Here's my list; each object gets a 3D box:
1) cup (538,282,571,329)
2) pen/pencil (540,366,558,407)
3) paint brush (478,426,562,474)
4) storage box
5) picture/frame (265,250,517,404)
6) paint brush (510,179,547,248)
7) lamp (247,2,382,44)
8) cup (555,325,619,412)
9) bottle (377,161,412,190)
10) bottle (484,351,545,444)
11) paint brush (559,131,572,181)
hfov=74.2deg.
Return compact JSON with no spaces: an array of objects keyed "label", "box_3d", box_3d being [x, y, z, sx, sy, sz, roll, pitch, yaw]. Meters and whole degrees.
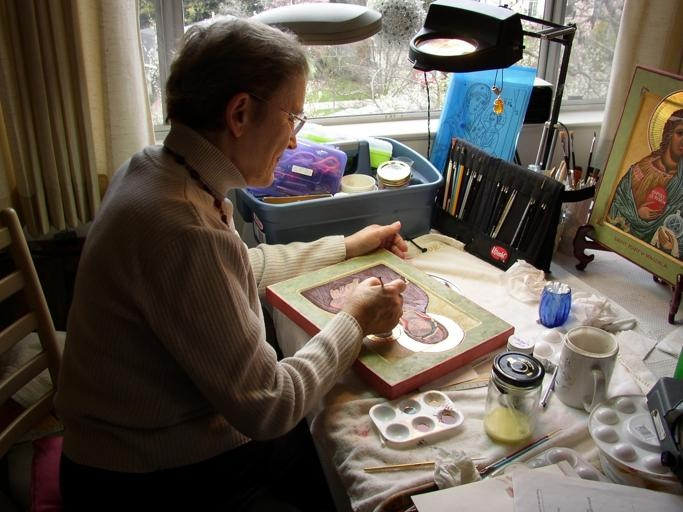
[{"label":"cup","box_3d":[0.523,0.120,1.109,0.069,0.100,0.071,-6,22,2]},{"label":"pen/pencil","box_3d":[0.412,0.264,0.902,0.016,0.016,0.119,28,55,11]},{"label":"paint brush","box_3d":[0.314,0.347,0.805,0.110,0.017,0.016,-26,68,-21]},{"label":"storage box","box_3d":[0.017,-0.148,1.513,0.535,0.194,0.416,-13,34,-16]},{"label":"picture/frame","box_3d":[0.101,0.146,1.123,0.534,0.061,0.569,0,25,-15]},{"label":"paint brush","box_3d":[0.528,-0.108,1.307,0.051,0.220,0.029,31,17,35]},{"label":"lamp","box_3d":[-0.058,-0.638,1.291,0.328,0.099,0.223,-1,38,0]},{"label":"cup","box_3d":[0.476,0.238,0.879,0.091,0.144,0.144,1,27,7]},{"label":"bottle","box_3d":[0.164,-0.278,1.476,0.099,0.106,0.101,-3,43,-3]},{"label":"bottle","box_3d":[0.320,0.267,0.851,0.093,0.152,0.094,1,22,0]},{"label":"paint brush","box_3d":[0.666,-0.310,1.363,0.035,0.184,0.028,-1,-5,10]}]
